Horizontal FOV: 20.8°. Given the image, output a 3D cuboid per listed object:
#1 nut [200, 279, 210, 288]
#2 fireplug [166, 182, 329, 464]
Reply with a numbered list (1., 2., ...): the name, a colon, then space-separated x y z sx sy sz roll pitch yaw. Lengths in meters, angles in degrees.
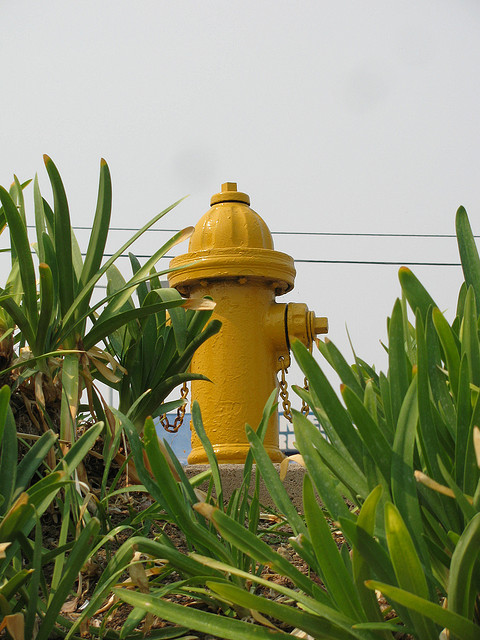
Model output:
1. nut: -0.062 -0.064 2.293 0.011 0.021 0.012 -1 -11 12
2. fireplug: 0.007 0.015 2.368 0.206 0.528 0.244 0 -3 8
